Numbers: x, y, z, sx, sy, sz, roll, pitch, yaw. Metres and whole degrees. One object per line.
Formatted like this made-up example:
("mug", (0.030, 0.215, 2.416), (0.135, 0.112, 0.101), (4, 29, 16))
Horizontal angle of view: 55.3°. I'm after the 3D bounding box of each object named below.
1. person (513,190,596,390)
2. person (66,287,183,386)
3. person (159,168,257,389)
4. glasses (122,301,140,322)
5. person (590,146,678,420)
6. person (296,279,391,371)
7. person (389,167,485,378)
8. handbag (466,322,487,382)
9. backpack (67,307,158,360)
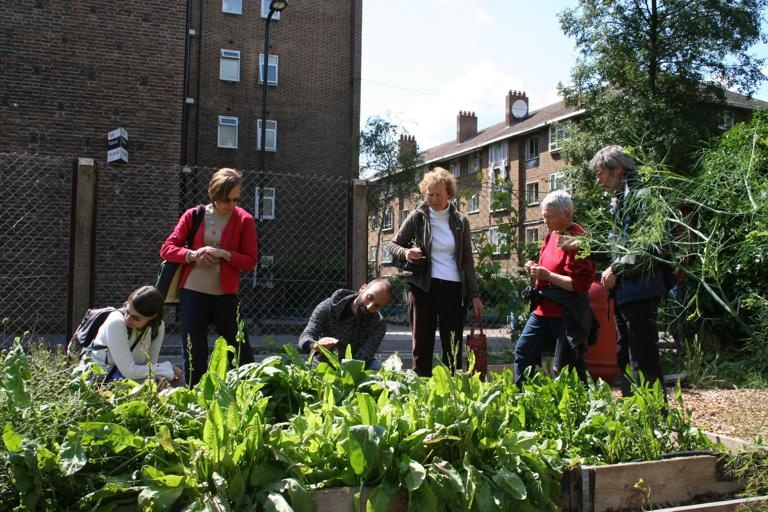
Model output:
("person", (1.490, 0.246, 6.252), (0.605, 1.653, 0.774), (7, -10, -39))
("person", (-2.029, 0.597, 5.788), (0.745, 0.755, 0.826), (3, -9, -22))
("person", (-1.511, 0.174, 6.353), (0.771, 1.822, 0.489), (-2, -8, 12))
("glasses", (-2.008, 0.432, 5.817), (0.085, 0.109, 0.153), (-31, -19, -47))
("person", (1.979, 0.252, 5.971), (0.847, 2.310, 0.790), (-8, 14, -2))
("person", (-0.331, 0.559, 6.240), (0.742, 0.752, 0.466), (1, -8, -7))
("person", (0.484, 0.119, 6.779), (0.853, 1.917, 0.413), (0, -8, 0))
("handbag", (0.913, 0.891, 6.933), (0.106, 0.505, 0.117), (-8, -9, 11))
("backpack", (-2.357, 0.597, 6.127), (0.436, 0.412, 0.306), (28, -12, -13))
